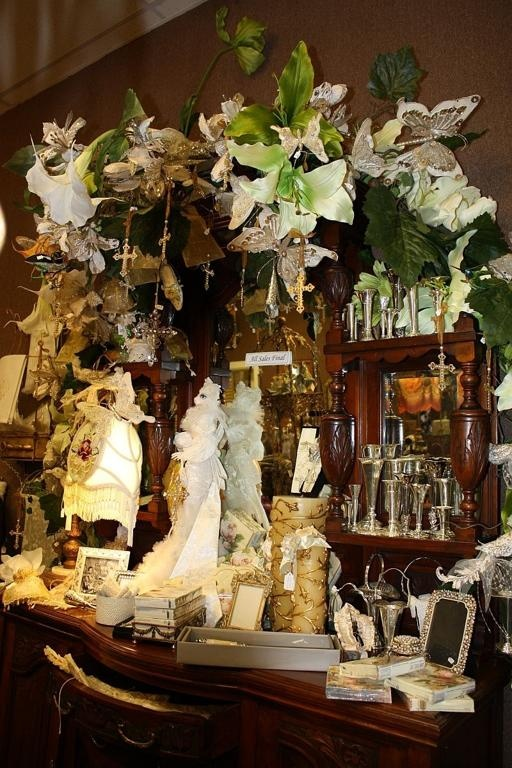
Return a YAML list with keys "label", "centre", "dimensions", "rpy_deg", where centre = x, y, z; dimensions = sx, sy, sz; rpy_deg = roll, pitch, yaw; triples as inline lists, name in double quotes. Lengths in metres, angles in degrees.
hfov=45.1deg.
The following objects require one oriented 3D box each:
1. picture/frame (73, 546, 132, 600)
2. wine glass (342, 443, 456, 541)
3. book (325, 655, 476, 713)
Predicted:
- label: "picture/frame"
  centre: [-0.475, 0.582, 1.881]
  dimensions: [0.019, 0.159, 0.195]
  rpy_deg: [-9, -22, 38]
- label: "wine glass"
  centre: [0.332, 0.236, 1.393]
  dimensions: [0.260, 0.197, 0.188]
  rpy_deg: [-7, -11, 41]
- label: "book"
  centre: [0.259, 0.540, 1.124]
  dimensions: [0.260, 0.071, 0.166]
  rpy_deg: [-1, -8, 10]
